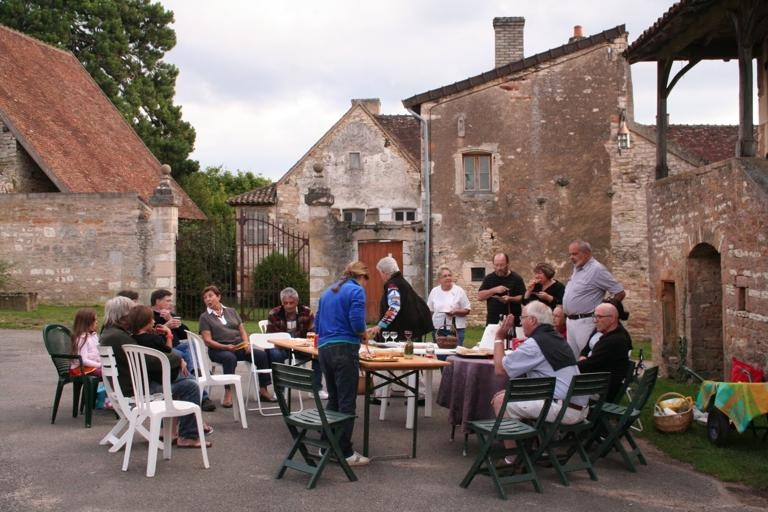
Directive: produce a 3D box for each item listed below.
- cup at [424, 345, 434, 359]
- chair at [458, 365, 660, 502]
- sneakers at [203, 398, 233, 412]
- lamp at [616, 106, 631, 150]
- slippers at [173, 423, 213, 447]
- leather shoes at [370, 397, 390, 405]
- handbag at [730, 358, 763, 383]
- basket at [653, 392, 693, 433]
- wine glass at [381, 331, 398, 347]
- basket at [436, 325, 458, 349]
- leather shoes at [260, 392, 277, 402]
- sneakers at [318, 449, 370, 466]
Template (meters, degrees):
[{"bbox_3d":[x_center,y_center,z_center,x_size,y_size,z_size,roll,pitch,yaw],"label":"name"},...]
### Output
[{"bbox_3d":[0.681,1.480,14.891,0.144,0.254,0.156,2,-4,0],"label":"cup"},{"bbox_3d":[2.328,2.389,13.307,2.782,1.573,0.820,0,-1,-24],"label":"chair"},{"bbox_3d":[-2.720,2.383,15.490,0.623,0.248,0.189,-12,-1,35],"label":"sneakers"},{"bbox_3d":[6.390,-3.369,25.925,0.374,1.110,0.198,0,-1,-32],"label":"lamp"},{"bbox_3d":[-2.849,2.649,14.098,0.607,0.397,0.229,5,-12,1],"label":"slippers"},{"bbox_3d":[-0.113,2.408,15.964,0.214,0.082,0.235,1,-1,29],"label":"leather shoes"},{"bbox_3d":[5.882,1.859,15.699,0.381,0.345,0.986,-1,-2,7],"label":"handbag"},{"bbox_3d":[4.424,2.390,14.826,0.499,0.628,0.658,-1,-9,0],"label":"basket"},{"bbox_3d":[0.059,1.301,15.318,0.236,0.339,0.204,1,-4,-1],"label":"wine glass"},{"bbox_3d":[0.978,1.298,15.356,0.319,0.282,0.314,4,-8,-5],"label":"basket"},{"bbox_3d":[-1.891,2.339,15.997,0.359,0.137,0.128,0,0,10],"label":"leather shoes"},{"bbox_3d":[-0.585,2.820,13.399,0.701,0.289,0.270,0,-1,-9],"label":"sneakers"}]
